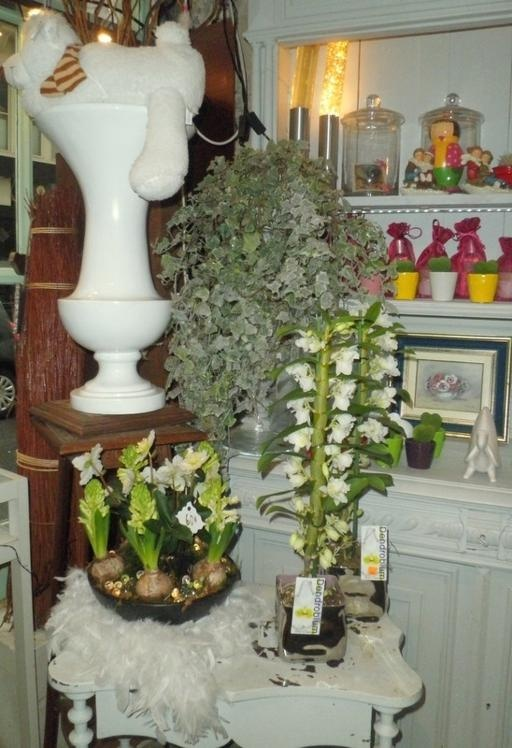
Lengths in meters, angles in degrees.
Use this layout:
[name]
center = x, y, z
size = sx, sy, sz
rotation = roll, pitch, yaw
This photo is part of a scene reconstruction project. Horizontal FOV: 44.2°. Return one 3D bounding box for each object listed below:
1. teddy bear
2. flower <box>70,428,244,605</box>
[teddy bear]
center = -0.214, -0.425, 1.009
size = 0.323, 0.308, 0.132
rotation = 1, -5, 0
[flower]
center = -0.127, 0.269, 1.016
size = 0.285, 0.269, 0.237
rotation = 11, 37, 5
